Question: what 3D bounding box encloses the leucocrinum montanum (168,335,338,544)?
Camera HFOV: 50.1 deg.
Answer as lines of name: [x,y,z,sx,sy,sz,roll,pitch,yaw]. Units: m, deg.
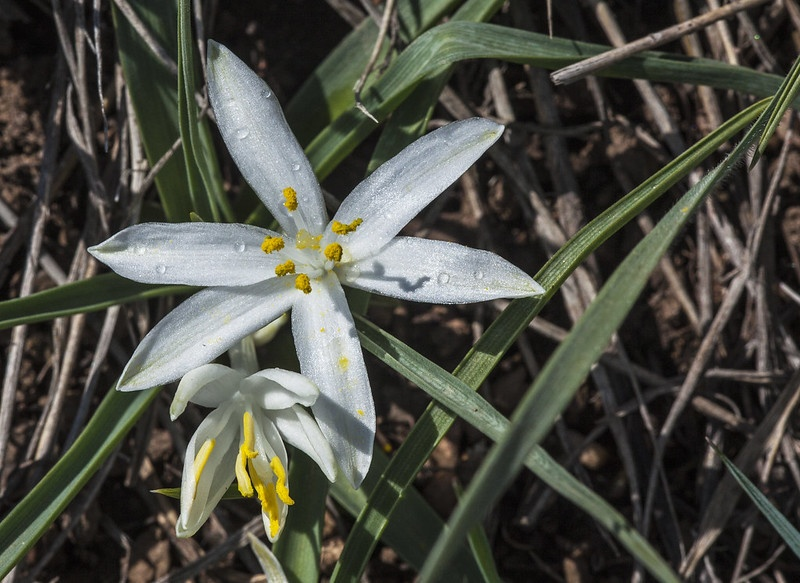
leucocrinum montanum: [-0.420,0.390,2.314,0.422,0.222,0.598,1,-34,-26]
